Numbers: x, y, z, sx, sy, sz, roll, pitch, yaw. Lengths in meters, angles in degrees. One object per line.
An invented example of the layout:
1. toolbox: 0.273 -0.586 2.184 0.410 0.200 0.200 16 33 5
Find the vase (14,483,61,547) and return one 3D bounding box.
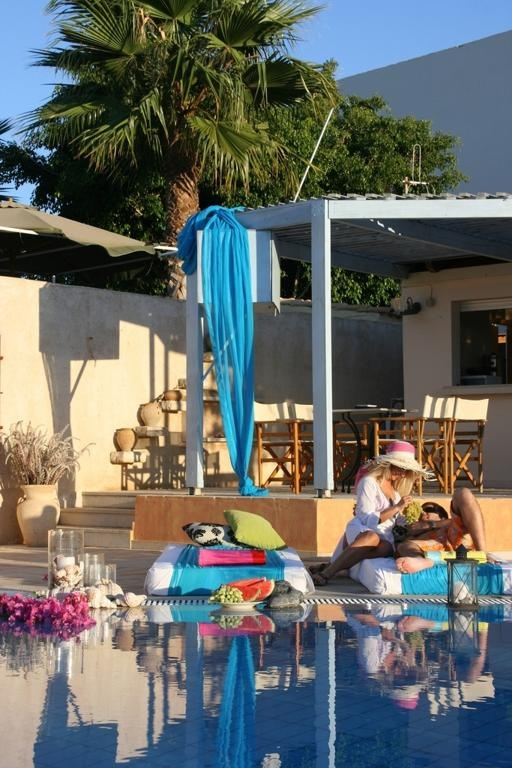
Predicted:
1. vase: -1.914 1.137 10.427 0.430 0.639 0.503 -1 -8 8

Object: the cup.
1. cup: -1.029 1.042 7.109 0.410 0.340 0.404 0 2 0

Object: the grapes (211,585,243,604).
1. grapes: -0.165 1.201 6.831 0.181 0.098 0.138 -1 2 -2

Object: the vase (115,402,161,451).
1. vase: -1.185 0.429 12.329 0.380 0.470 0.763 0 2 23

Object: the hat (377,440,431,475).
1. hat: 0.946 0.466 7.858 0.197 0.114 0.298 15 -21 -1

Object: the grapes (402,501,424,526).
1. grapes: 1.019 0.829 7.811 0.103 0.133 0.074 18 -36 18

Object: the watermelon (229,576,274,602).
1. watermelon: -0.012 1.183 6.929 0.134 0.067 0.174 -16 24 -42

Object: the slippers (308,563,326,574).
1. slippers: 0.405 1.212 7.888 0.083 0.055 0.130 -2 2 13
